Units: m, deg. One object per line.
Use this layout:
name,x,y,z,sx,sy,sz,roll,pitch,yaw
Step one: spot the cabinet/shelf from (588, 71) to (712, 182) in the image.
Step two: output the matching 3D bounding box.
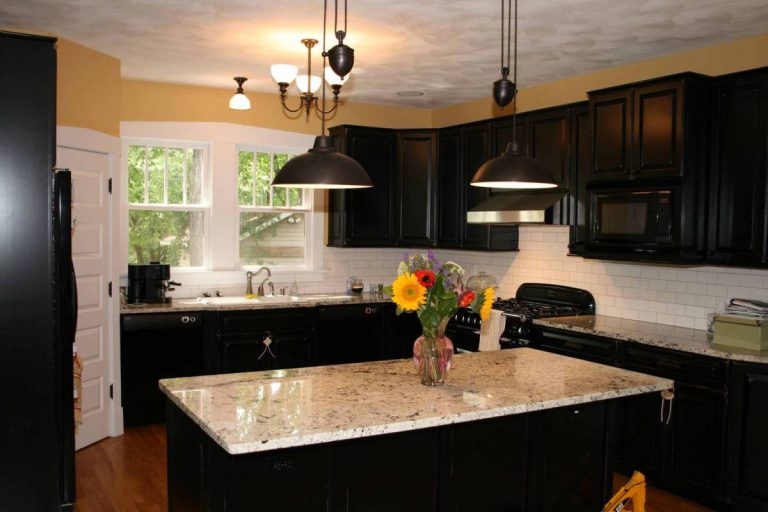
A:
cabinet/shelf,2.169,-1.071,4.978,0.223,0.829,0.874,-6,12,-42

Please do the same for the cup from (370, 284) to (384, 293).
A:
cup,-0.082,0.392,7.085,0.197,0.133,0.192,1,-3,0

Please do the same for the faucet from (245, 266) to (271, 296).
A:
faucet,-1.436,0.286,6.655,0.272,0.325,0.397,3,8,7

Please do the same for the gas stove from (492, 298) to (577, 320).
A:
gas stove,1.435,0.521,5.911,0.735,0.041,0.927,-4,9,-36

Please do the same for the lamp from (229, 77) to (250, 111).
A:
lamp,-1.429,-1.605,5.790,0.226,0.290,0.213,9,21,4

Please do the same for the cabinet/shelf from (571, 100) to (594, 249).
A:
cabinet/shelf,1.861,-0.660,5.501,0.140,1.330,0.343,-6,10,-4

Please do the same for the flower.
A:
flower,0.318,0.373,3.464,0.648,0.778,0.309,1,9,-4

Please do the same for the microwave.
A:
microwave,2.030,-0.317,5.168,0.852,0.528,0.534,0,3,-19

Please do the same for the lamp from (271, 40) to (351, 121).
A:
lamp,-0.649,-1.531,5.108,0.701,0.623,0.599,13,18,33

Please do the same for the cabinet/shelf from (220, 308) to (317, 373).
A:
cabinet/shelf,-1.284,0.786,6.364,1.079,0.939,0.601,0,5,-18

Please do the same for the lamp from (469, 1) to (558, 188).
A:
lamp,1.062,-1.169,4.421,0.524,1.352,2.071,4,8,16

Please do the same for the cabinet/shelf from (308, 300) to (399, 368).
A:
cabinet/shelf,-0.391,0.688,6.790,1.121,0.957,0.617,0,0,-23

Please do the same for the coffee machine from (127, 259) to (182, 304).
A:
coffee machine,-2.386,0.281,6.059,0.547,0.412,0.349,1,1,-19
